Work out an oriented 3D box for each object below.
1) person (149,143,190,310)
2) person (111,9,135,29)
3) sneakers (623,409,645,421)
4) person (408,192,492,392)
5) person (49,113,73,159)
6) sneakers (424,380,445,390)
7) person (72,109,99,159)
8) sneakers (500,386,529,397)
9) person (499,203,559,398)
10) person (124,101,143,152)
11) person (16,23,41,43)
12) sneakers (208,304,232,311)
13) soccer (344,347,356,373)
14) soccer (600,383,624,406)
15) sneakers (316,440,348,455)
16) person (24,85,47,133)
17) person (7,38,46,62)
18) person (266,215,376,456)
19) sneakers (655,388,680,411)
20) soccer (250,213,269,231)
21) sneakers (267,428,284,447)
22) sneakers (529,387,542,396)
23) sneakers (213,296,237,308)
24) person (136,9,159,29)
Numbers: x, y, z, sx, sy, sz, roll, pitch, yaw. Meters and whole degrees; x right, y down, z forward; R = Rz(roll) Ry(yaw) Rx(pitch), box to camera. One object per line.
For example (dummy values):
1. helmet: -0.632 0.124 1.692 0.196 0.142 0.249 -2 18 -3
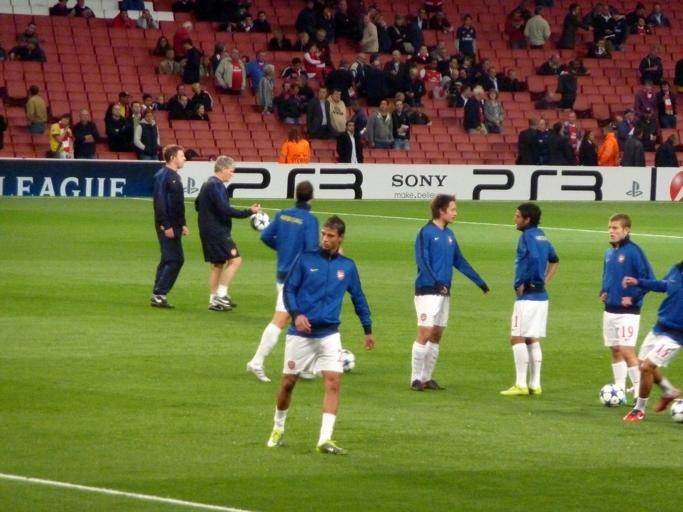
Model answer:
1. person: -3.128 -0.507 28.005 0.631 3.097 0.814 0 13 -8
2. person: -6.844 -7.444 48.294 0.673 0.576 1.064 2 13 3
3. sneakers: 4.417 2.458 23.386 0.302 0.118 0.153 1 -8 -39
4. person: 1.432 0.605 24.387 0.595 3.072 0.838 4 13 9
5. person: -7.501 -3.216 41.477 0.589 1.261 0.973 0 13 -9
6. sneakers: 1.442 2.093 24.512 0.358 0.265 0.127 0 5 1
7. person: -6.947 -3.298 41.816 0.608 1.341 0.625 -1 13 -10
8. sneakers: 2.727 2.176 24.430 0.354 0.143 0.186 2 -5 4
9. person: 2.977 0.705 24.469 0.745 2.991 1.060 4 13 9
10. person: -5.670 -3.542 42.263 0.480 1.541 0.538 30 44 27
11. person: -9.288 -6.664 45.821 0.524 0.656 1.419 -3 14 -18
12. sneakers: -2.231 0.984 28.330 0.409 0.172 0.148 1 3 2
13. soccer: 0.128 1.755 25.254 0.231 0.273 0.225 20 -35 -36
14. soccer: 4.165 2.211 23.898 0.329 0.341 0.323 -5 -14 9
15. sneakers: -0.159 2.780 22.039 0.474 0.220 0.173 0 3 11
16. person: -8.630 -4.181 43.773 0.602 1.473 1.945 -1 13 -11
17. person: -9.297 -6.102 45.804 1.025 0.757 0.653 -1 13 -13
18. person: -0.277 1.133 22.141 1.062 3.318 1.310 9 15 31
19. sneakers: 4.981 2.251 23.663 0.410 0.181 0.144 -41 19 -10
20. soccer: -1.532 -0.626 28.834 0.255 0.274 0.289 33 22 -24
21. sneakers: -0.959 2.674 22.179 0.131 0.156 0.368 14 24 -2
22. sneakers: 3.057 2.191 24.478 0.142 0.092 0.101 -1 7 7
23. sneakers: -2.145 0.872 28.374 0.398 0.179 0.157 22 7 -1
24. person: -6.008 -7.461 48.461 0.691 0.627 0.721 -5 15 -28
